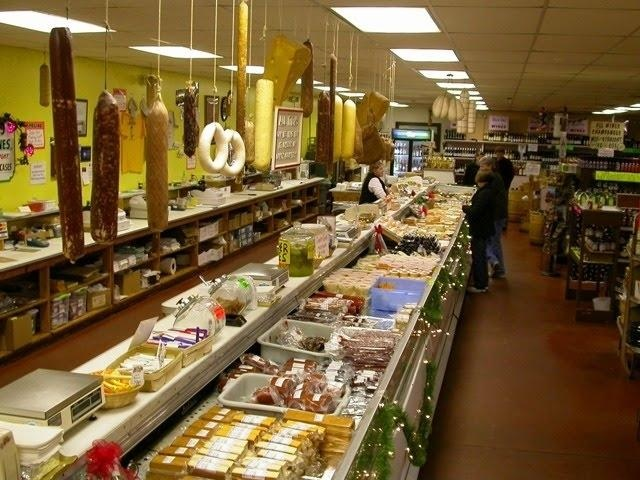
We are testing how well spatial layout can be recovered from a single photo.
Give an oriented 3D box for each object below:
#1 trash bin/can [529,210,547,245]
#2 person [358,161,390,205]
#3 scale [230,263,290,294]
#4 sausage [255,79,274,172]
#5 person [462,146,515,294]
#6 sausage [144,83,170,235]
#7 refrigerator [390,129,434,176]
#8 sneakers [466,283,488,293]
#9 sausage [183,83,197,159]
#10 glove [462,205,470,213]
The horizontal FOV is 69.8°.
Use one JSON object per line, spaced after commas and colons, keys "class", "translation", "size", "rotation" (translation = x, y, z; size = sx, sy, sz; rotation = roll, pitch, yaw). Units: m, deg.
{"class": "trash bin/can", "translation": [5.312, -0.296, 11.060], "size": [0.455, 0.821, 0.485], "rotation": [4, 8, 13]}
{"class": "person", "translation": [0.966, -1.052, 8.182], "size": [0.498, 0.730, 1.254], "rotation": [3, 14, 8]}
{"class": "scale", "translation": [-0.408, 0.251, 3.244], "size": [0.226, 0.061, 0.245], "rotation": [8, 18, 7]}
{"class": "sausage", "translation": [-0.352, -0.709, 2.790], "size": [0.123, 0.528, 0.123], "rotation": [-13, 27, -38]}
{"class": "person", "translation": [2.839, -0.292, 7.861], "size": [0.596, 2.210, 1.237], "rotation": [7, 14, 26]}
{"class": "sausage", "translation": [-0.669, -0.344, 1.884], "size": [0.091, 0.620, 0.184], "rotation": [-1, 13, -10]}
{"class": "refrigerator", "translation": [3.672, -3.612, 18.736], "size": [1.464, 1.839, 0.838], "rotation": [3, 13, 10]}
{"class": "sneakers", "translation": [2.648, 0.825, 7.748], "size": [0.328, 0.165, 0.134], "rotation": [6, 6, 3]}
{"class": "sausage", "translation": [-0.615, -0.568, 2.150], "size": [0.071, 0.323, 0.074], "rotation": [0, 13, -4]}
{"class": "glove", "translation": [2.397, -0.524, 7.520], "size": [0.115, 0.125, 0.122], "rotation": [6, 11, 22]}
